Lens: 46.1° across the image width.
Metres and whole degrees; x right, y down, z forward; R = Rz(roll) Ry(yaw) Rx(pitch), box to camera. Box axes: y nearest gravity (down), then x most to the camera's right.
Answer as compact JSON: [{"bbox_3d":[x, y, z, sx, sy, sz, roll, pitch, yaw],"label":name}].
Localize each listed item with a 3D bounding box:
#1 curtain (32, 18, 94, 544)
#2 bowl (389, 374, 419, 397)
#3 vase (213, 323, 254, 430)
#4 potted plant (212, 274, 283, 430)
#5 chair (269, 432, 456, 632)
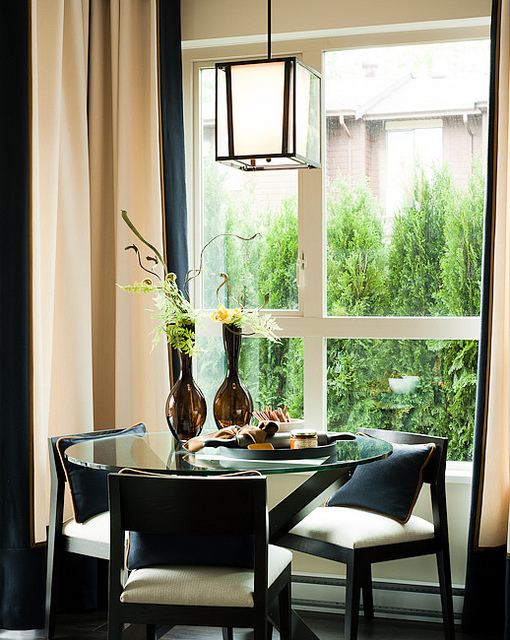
[{"bbox_3d":[-0.746,-0.228,2.393,0.158,2.077,0.518,1,4,9],"label":"curtain"},{"bbox_3d":[0.642,0.282,2.580,0.078,0.076,0.091,-1,0,2],"label":"bowl"},{"bbox_3d":[-0.073,0.188,2.022,0.130,0.351,0.168,-2,5,-29],"label":"vase"},{"bbox_3d":[-0.042,0.128,2.065,0.221,0.592,0.230,7,-12,-36],"label":"potted plant"},{"bbox_3d":[0.410,0.764,2.115,0.499,0.701,0.495,6,-10,-42],"label":"chair"}]
